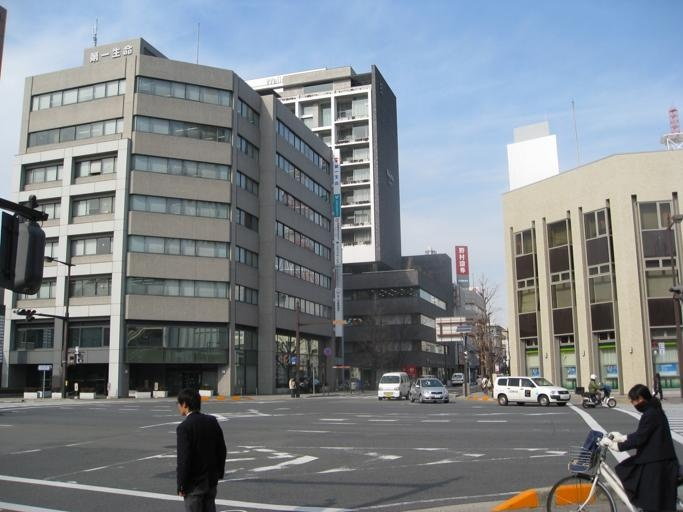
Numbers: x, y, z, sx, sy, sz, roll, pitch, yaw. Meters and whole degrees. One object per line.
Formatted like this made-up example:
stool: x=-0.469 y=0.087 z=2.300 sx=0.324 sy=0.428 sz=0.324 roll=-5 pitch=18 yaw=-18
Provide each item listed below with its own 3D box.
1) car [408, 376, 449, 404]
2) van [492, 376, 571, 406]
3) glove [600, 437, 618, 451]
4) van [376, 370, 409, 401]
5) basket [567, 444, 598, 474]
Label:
car: x=6.056 y=9.413 z=46.473 sx=1.802 sy=1.844 sz=3.467 roll=1 pitch=-15 yaw=-12
van: x=11.713 y=8.359 z=40.807 sx=3.794 sy=1.614 sz=2.047 roll=-10 pitch=-14 yaw=36
glove: x=4.385 y=3.098 z=10.845 sx=0.151 sy=0.108 sz=0.254 roll=4 pitch=0 yaw=-23
van: x=4.181 y=10.457 z=53.213 sx=1.749 sy=2.260 sz=3.336 roll=-7 pitch=-15 yaw=21
basket: x=4.168 y=3.531 z=11.621 sx=0.637 sy=0.542 sz=1.047 roll=-1 pitch=-15 yaw=16
